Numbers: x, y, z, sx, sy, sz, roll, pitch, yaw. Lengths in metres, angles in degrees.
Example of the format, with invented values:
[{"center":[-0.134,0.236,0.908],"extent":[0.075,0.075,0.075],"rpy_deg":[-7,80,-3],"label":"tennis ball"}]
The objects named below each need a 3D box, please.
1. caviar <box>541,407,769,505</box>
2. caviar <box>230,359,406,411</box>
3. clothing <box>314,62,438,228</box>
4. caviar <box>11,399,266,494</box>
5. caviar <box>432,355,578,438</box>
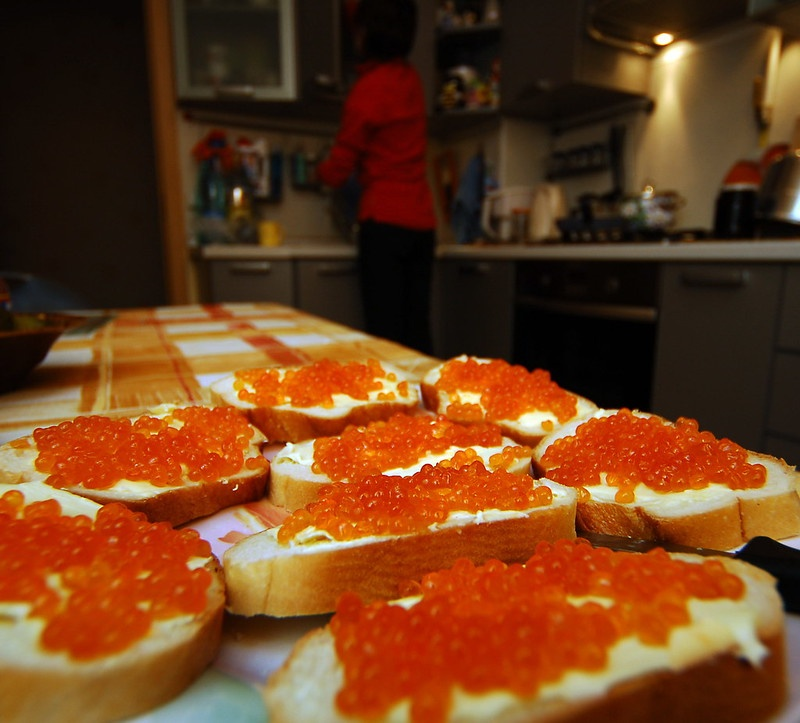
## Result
[{"center":[0.255,0.090,0.657],"extent":[0.156,0.034,0.101],"rpy_deg":[0,15,14],"label":"caviar"},{"center":[-0.107,0.033,0.918],"extent":[0.150,0.029,0.112],"rpy_deg":[-3,8,-18],"label":"caviar"},{"center":[-0.101,-0.898,2.741],"extent":[0.507,0.664,0.324],"rpy_deg":[2,16,1],"label":"clothing"},{"center":[-0.249,0.089,0.652],"extent":[0.158,0.026,0.112],"rpy_deg":[-1,18,-20],"label":"caviar"},{"center":[0.135,0.048,0.885],"extent":[0.175,0.052,0.110],"rpy_deg":[9,25,32],"label":"caviar"}]
